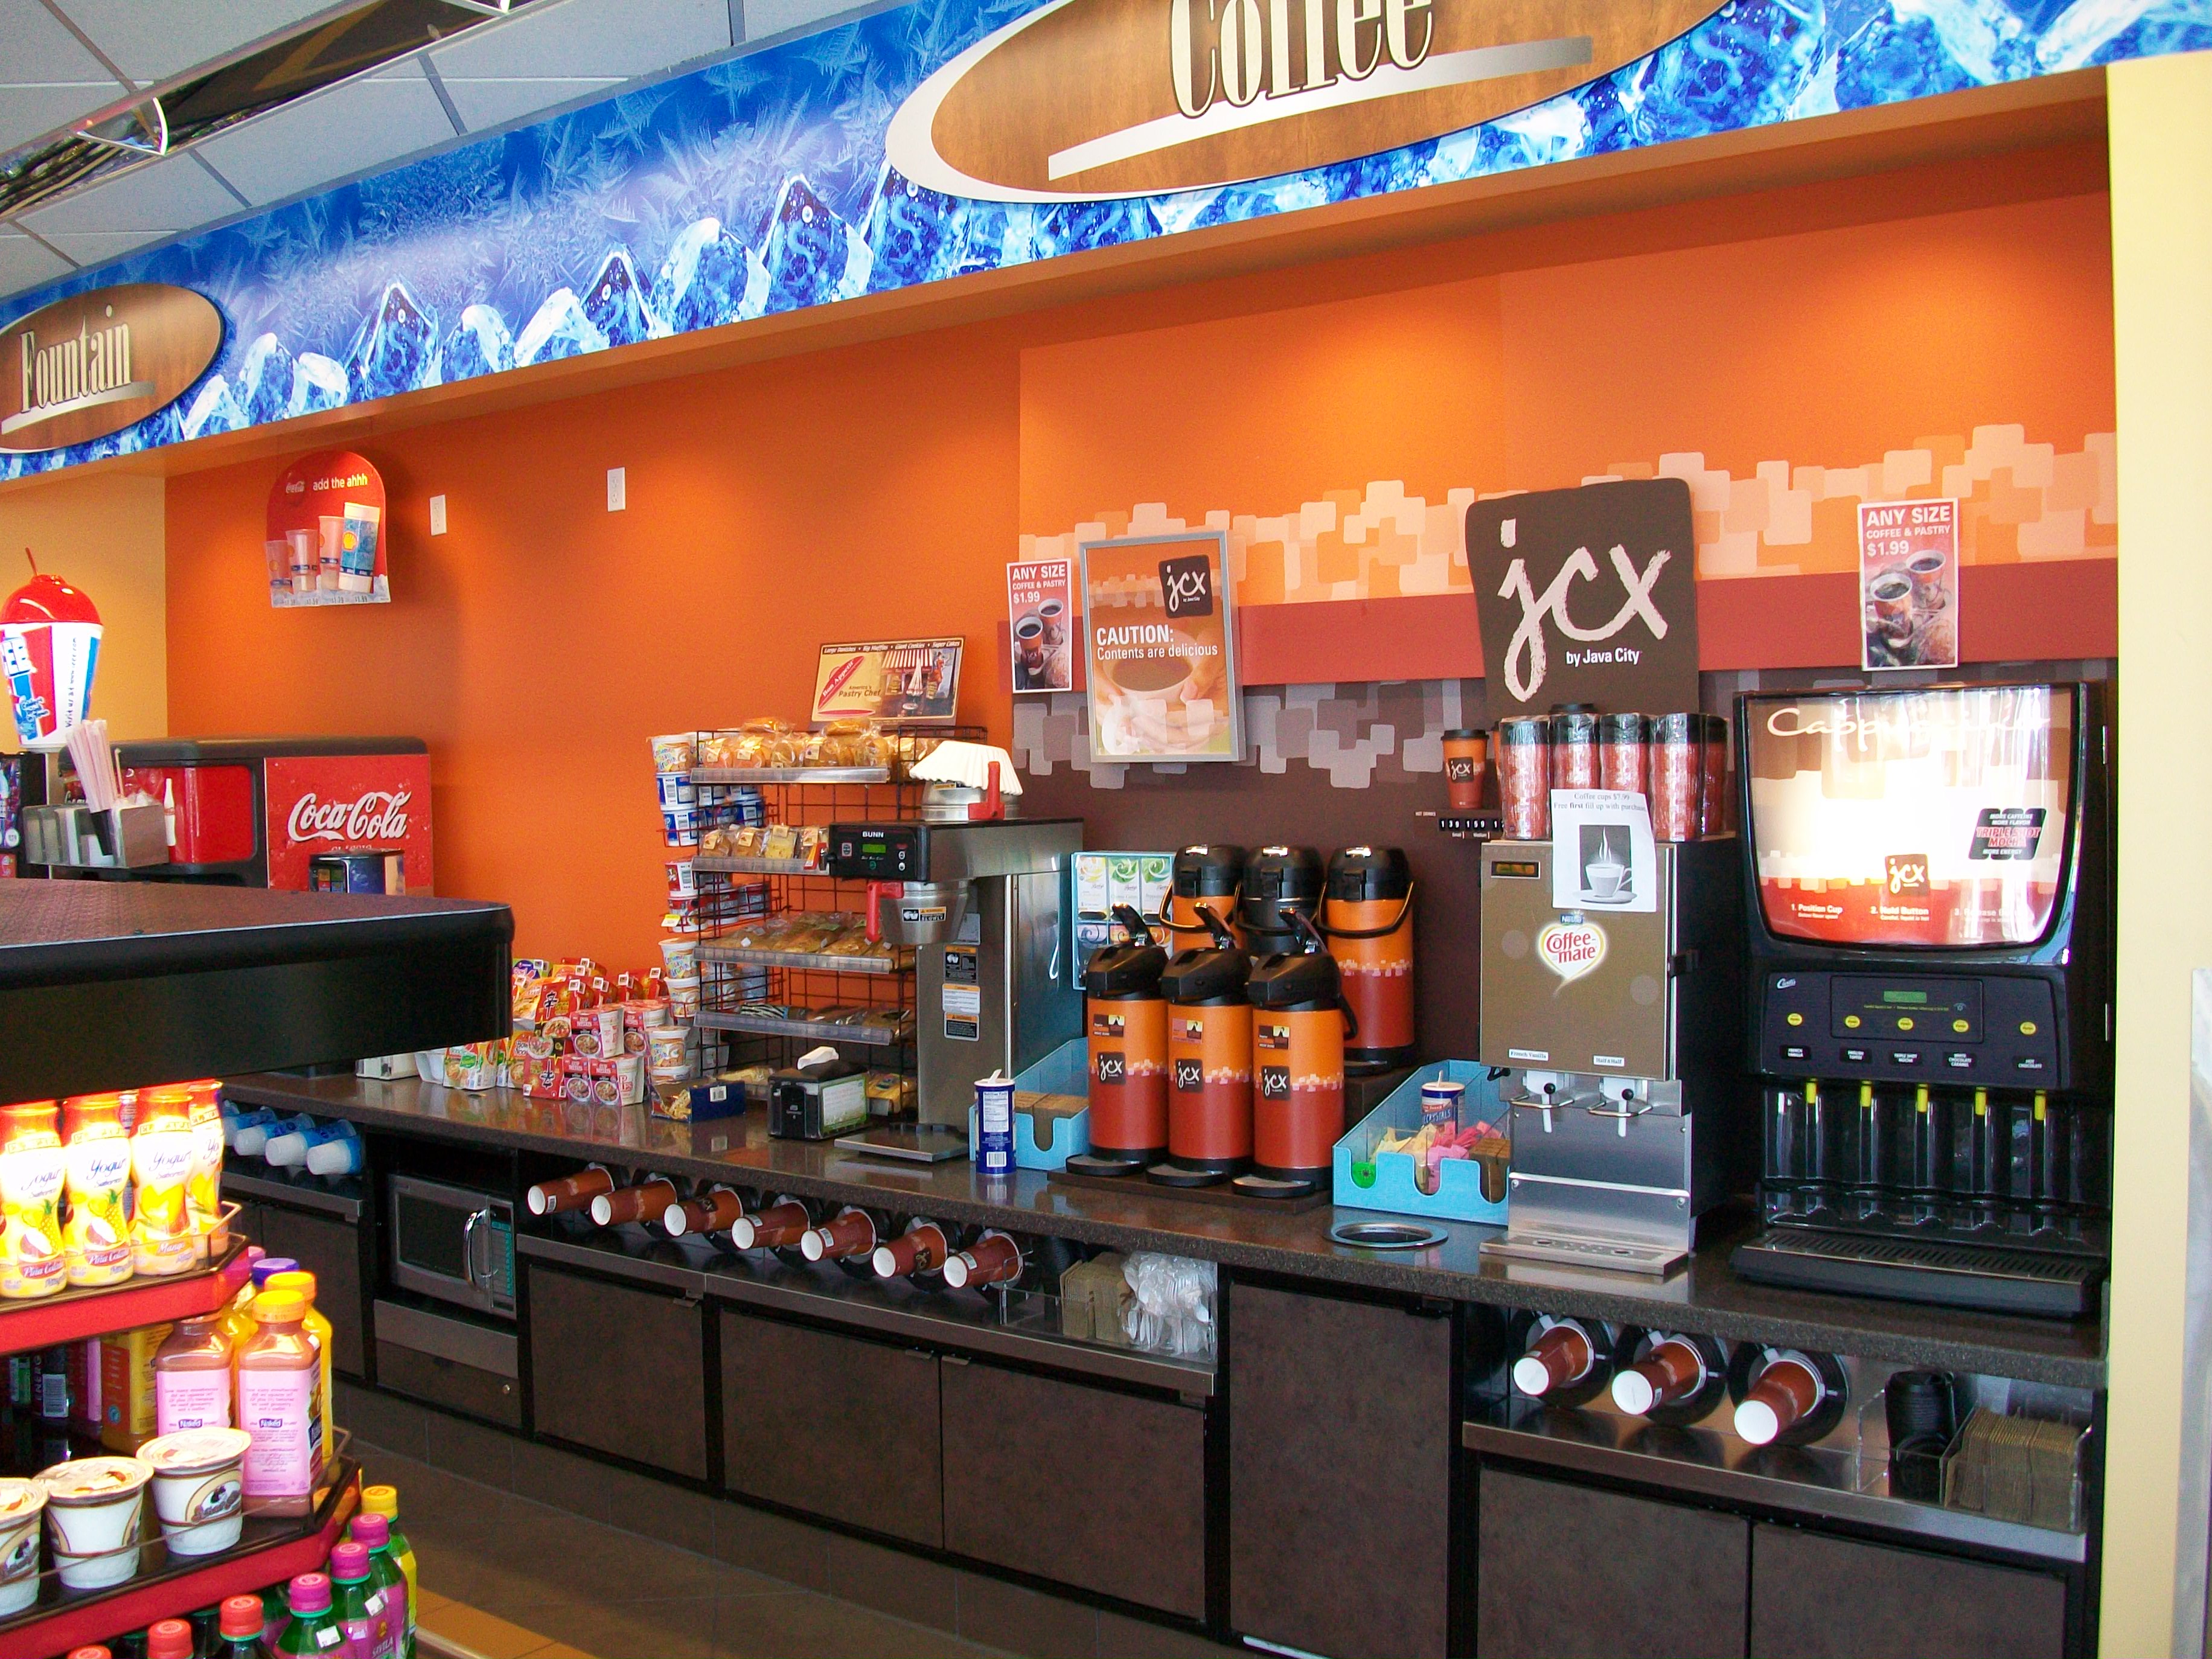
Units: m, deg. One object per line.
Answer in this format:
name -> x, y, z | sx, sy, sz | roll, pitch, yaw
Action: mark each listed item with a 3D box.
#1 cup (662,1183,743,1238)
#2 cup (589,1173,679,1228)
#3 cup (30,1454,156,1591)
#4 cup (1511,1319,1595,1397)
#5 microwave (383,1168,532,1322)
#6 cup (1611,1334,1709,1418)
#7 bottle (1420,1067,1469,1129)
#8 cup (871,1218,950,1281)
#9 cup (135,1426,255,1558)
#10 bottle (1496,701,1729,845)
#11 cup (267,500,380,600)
cup -> -1.006, 0.989, 4.396 | 0.299, 0.095, 0.105 | -1, 8, -43
cup -> -1.247, 0.981, 4.497 | 0.107, 0.098, 0.320 | -8, -5, 18
cup -> -1.475, 1.006, 2.489 | 0.166, 0.154, 0.162 | -1, -6, 0
cup -> 0.874, 1.045, 3.278 | 0.158, 0.132, 0.197 | -2, 2, 22
microwave -> -1.922, 1.189, 4.854 | 0.521, 0.325, 0.350 | 2, 0, 38
cup -> 1.066, 1.046, 3.211 | 0.142, 0.144, 0.238 | -12, -10, 29
bottle -> 0.774, 0.626, 3.883 | 0.094, 0.143, 0.100 | 0, 0, 0
cup -> -0.467, 1.013, 4.037 | 0.141, 0.141, 0.185 | -18, -7, 32
cup -> -1.379, 0.997, 2.557 | 0.163, 0.139, 0.160 | -1, -3, 0
bottle -> 1.099, -0.114, 3.504 | 0.514, 0.224, 0.381 | -2, 2, 2
cup -> -2.970, -1.040, 6.334 | 0.488, 0.392, 0.176 | -2, 1, 25
